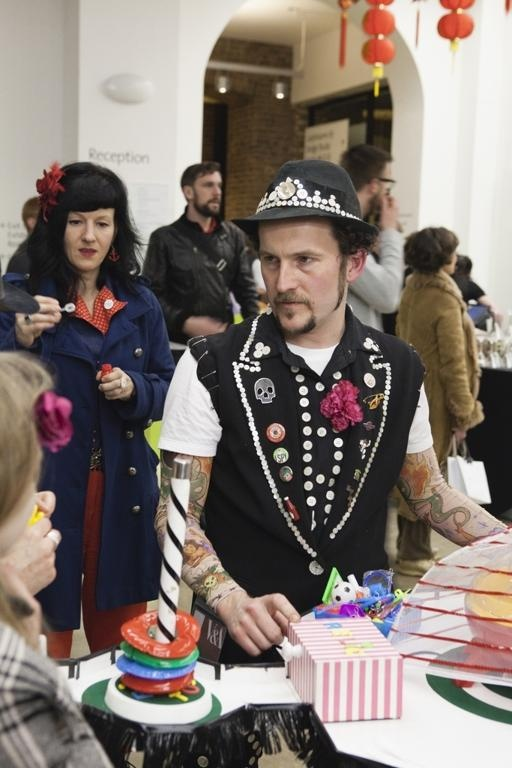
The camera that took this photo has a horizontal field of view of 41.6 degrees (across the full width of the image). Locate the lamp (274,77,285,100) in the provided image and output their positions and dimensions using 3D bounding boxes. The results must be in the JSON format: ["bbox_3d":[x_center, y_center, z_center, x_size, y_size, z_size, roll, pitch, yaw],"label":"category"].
[{"bbox_3d":[0.341,-4.514,10.278,0.197,0.277,0.063,0,5,-24],"label":"lamp"}]

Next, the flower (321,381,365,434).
[{"bbox_3d":[0.192,0.053,1.532,0.104,0.103,0.047,-10,-8,7],"label":"flower"}]

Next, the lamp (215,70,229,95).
[{"bbox_3d":[-0.519,-4.426,9.869,0.250,0.261,0.095,-2,7,-42],"label":"lamp"}]

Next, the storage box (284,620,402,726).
[{"bbox_3d":[0.140,0.439,1.061,0.111,0.080,0.160,-1,5,-8],"label":"storage box"}]

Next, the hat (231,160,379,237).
[{"bbox_3d":[0.127,-0.447,1.620,0.335,0.170,0.342,8,4,-11],"label":"hat"}]
